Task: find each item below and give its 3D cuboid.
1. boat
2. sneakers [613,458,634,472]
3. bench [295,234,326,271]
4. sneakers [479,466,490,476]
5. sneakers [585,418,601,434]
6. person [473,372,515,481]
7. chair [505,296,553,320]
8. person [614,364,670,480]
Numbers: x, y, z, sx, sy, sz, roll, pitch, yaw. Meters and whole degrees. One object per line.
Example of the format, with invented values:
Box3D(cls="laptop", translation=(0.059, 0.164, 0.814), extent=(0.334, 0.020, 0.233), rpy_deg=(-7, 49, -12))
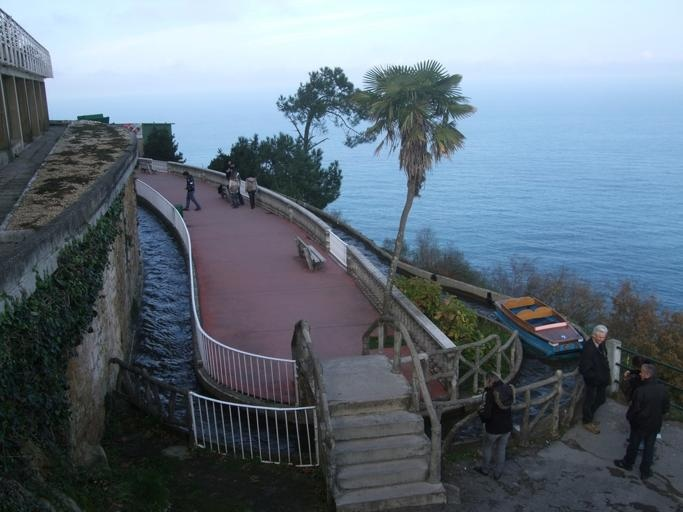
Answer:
Box3D(cls="boat", translation=(6.403, 2.339, 18.030), extent=(1.559, 0.835, 3.259), rpy_deg=(-4, 17, -9))
Box3D(cls="sneakers", translation=(4.721, 3.501, 9.020), extent=(0.116, 0.100, 0.240), rpy_deg=(-3, 8, -19))
Box3D(cls="bench", translation=(-1.084, -0.025, 18.905), extent=(0.787, 0.785, 1.492), rpy_deg=(-3, 15, -12))
Box3D(cls="sneakers", translation=(2.399, 3.584, 9.032), extent=(0.075, 0.087, 0.212), rpy_deg=(1, 19, -4))
Box3D(cls="sneakers", translation=(4.668, 3.159, 10.042), extent=(0.141, 0.163, 0.367), rpy_deg=(-9, 10, -5))
Box3D(cls="person", translation=(2.540, 2.772, 8.876), extent=(0.520, 1.755, 0.414), rpy_deg=(5, 15, 19))
Box3D(cls="chair", translation=(6.540, 1.850, 18.873), extent=(0.798, 0.487, 1.347), rpy_deg=(-6, 12, -10))
Box3D(cls="person", translation=(4.990, 2.636, 8.860), extent=(0.590, 1.849, 0.584), rpy_deg=(13, 19, 42))
